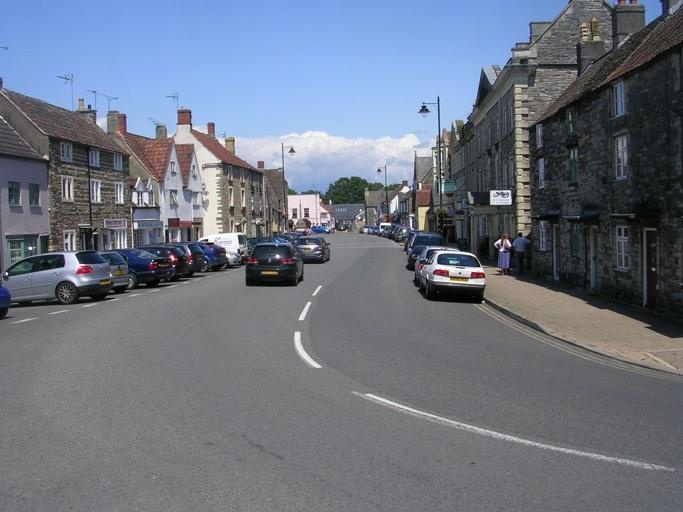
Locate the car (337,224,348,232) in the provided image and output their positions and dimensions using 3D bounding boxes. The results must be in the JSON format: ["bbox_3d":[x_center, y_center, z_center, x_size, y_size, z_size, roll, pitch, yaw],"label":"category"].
[{"bbox_3d":[0.048,-8.802,198.190,2.714,2.384,1.673,-1,-4,-10],"label":"car"}]
